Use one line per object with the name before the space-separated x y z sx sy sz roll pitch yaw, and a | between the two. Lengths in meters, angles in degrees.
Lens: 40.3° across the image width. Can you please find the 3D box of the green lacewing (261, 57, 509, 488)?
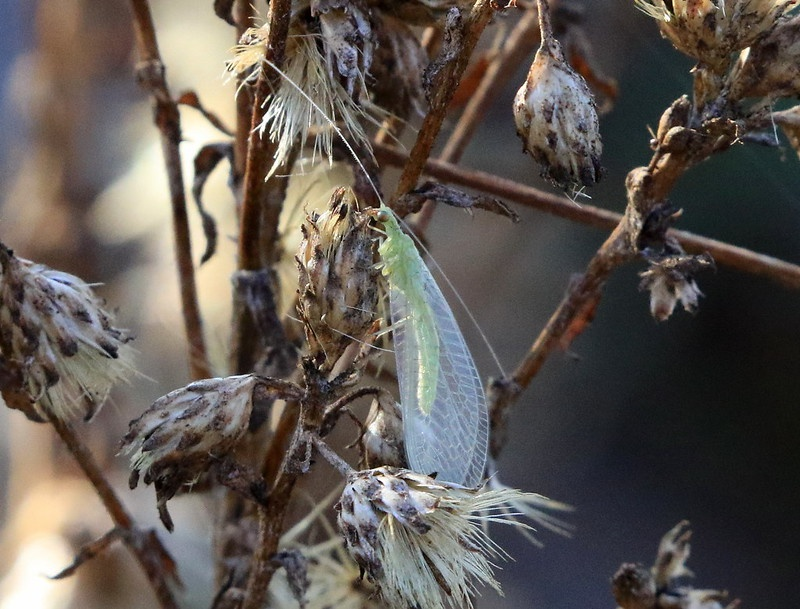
green lacewing | -0.020 0.048 1.366 0.406 0.114 0.300 43 9 2
